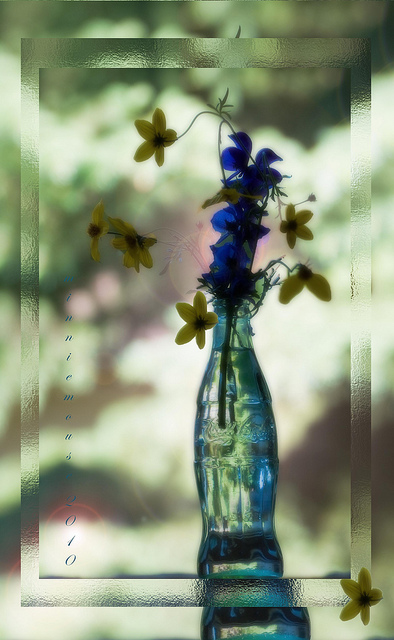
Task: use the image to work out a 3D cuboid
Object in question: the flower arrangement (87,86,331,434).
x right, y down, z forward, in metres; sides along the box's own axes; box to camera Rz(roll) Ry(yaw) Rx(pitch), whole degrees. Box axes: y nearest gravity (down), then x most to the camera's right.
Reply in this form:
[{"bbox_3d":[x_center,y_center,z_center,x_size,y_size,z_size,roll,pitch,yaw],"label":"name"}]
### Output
[{"bbox_3d":[0.049,-0.068,0.869,0.314,0.198,0.411,8,-81,37],"label":"flower arrangement"}]
